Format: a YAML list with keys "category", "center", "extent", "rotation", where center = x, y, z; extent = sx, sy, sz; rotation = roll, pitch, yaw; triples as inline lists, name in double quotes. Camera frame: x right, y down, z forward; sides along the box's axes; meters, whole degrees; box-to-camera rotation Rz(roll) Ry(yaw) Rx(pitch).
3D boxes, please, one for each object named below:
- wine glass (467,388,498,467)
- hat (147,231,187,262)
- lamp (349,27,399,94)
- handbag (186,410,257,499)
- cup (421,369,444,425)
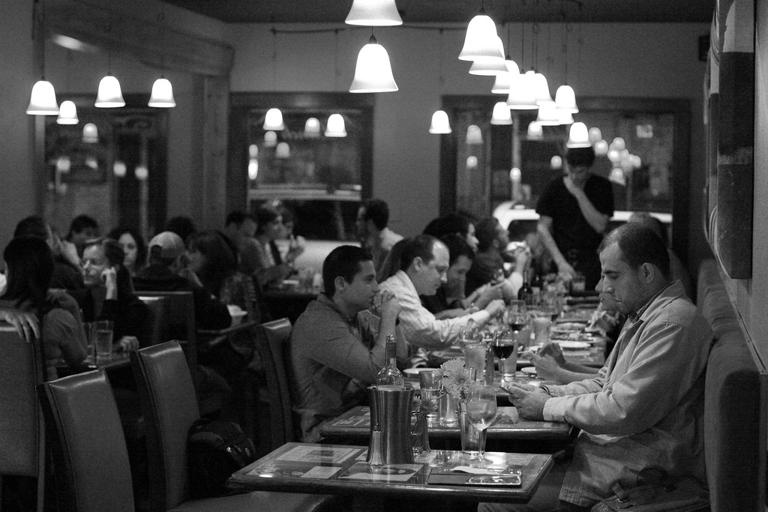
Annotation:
- category: "wine glass"
  center: [0.327, 0.576, 2.782]
  extent: [0.094, 0.274, 0.163]
  rotation: [-1, 3, -10]
- category: "hat"
  center: [-1.371, -0.058, 5.072]
  extent: [0.199, 0.118, 0.149]
  rotation: [2, 13, -37]
- category: "lamp"
  center: [-0.054, -1.098, 4.443]
  extent: [0.261, 0.290, 0.266]
  rotation: [10, 23, 24]
- category: "handbag"
  center: [-0.630, 0.798, 3.322]
  extent: [0.271, 0.321, 0.327]
  rotation: [-1, 0, 10]
- category: "cup"
  center: [0.185, 0.527, 3.110]
  extent: [0.102, 0.173, 0.110]
  rotation: [2, -8, 0]
